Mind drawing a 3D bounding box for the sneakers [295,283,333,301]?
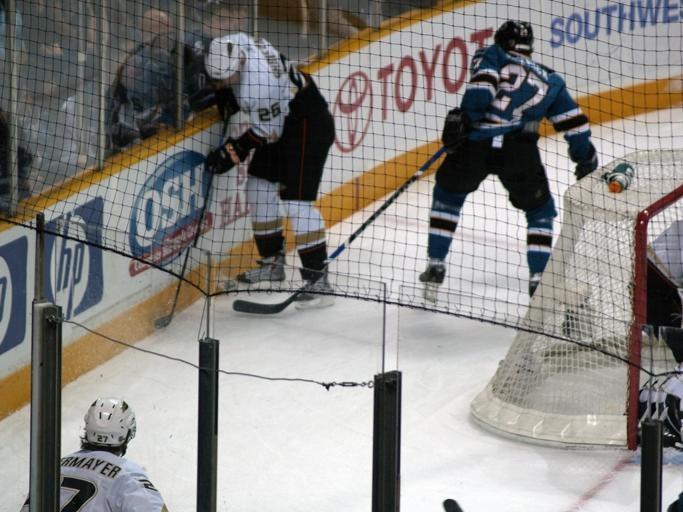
[{"bbox_3d":[-0.188,0.243,8.822,0.134,0.071,0.216,10,26,42],"label":"sneakers"}]

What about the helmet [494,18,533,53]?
[{"bbox_3d":[1.137,-1.454,8.885,0.219,0.211,0.185,-3,27,-13],"label":"helmet"}]

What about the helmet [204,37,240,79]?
[{"bbox_3d":[-0.746,-1.303,8.923,0.112,0.252,0.317,-29,18,-16],"label":"helmet"}]

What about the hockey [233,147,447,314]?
[{"bbox_3d":[-0.055,-0.146,9.370,1.608,0.282,0.091,-45,18,-8],"label":"hockey"}]

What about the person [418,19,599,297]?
[{"bbox_3d":[1.185,-0.615,9.127,1.173,2.045,0.649,12,-17,-5],"label":"person"}]

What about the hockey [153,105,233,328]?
[{"bbox_3d":[-0.981,-0.267,8.805,0.108,1.530,0.212,21,-24,-24],"label":"hockey"}]
